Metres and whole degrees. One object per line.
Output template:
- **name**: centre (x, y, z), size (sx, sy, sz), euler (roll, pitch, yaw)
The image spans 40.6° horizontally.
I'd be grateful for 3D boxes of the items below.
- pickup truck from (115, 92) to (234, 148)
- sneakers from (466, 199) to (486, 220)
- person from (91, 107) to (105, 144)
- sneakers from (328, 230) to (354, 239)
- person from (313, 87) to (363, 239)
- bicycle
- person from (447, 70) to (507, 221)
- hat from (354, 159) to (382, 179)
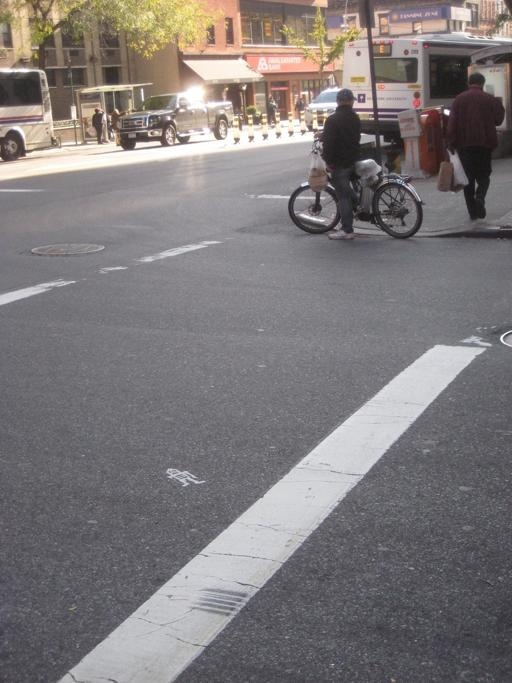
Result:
- **pickup truck**: centre (-4.080, -11.190, 36.155), size (3.078, 2.269, 6.516), euler (6, 18, 32)
- **sneakers**: centre (3.208, -1.871, 9.979), size (0.137, 0.408, 0.162), euler (-23, 6, 20)
- **person**: centre (-9.074, -12.416, 39.771), size (0.656, 1.958, 1.317), euler (-5, 13, -14)
- **sneakers**: centre (1.222, -1.519, 9.713), size (0.377, 0.161, 0.152), euler (3, 9, 3)
- **person**: centre (1.190, -2.417, 9.528), size (0.586, 2.010, 0.326), euler (-11, 15, -36)
- **bicycle**: centre (1.620, -2.290, 10.075), size (2.207, 1.448, 1.142), euler (19, 39, 34)
- **person**: centre (3.181, -2.689, 10.006), size (0.776, 1.806, 0.554), euler (1, 12, 14)
- **hat**: centre (1.572, -2.357, 9.584), size (0.319, 0.231, 0.321), euler (-12, -5, 16)
